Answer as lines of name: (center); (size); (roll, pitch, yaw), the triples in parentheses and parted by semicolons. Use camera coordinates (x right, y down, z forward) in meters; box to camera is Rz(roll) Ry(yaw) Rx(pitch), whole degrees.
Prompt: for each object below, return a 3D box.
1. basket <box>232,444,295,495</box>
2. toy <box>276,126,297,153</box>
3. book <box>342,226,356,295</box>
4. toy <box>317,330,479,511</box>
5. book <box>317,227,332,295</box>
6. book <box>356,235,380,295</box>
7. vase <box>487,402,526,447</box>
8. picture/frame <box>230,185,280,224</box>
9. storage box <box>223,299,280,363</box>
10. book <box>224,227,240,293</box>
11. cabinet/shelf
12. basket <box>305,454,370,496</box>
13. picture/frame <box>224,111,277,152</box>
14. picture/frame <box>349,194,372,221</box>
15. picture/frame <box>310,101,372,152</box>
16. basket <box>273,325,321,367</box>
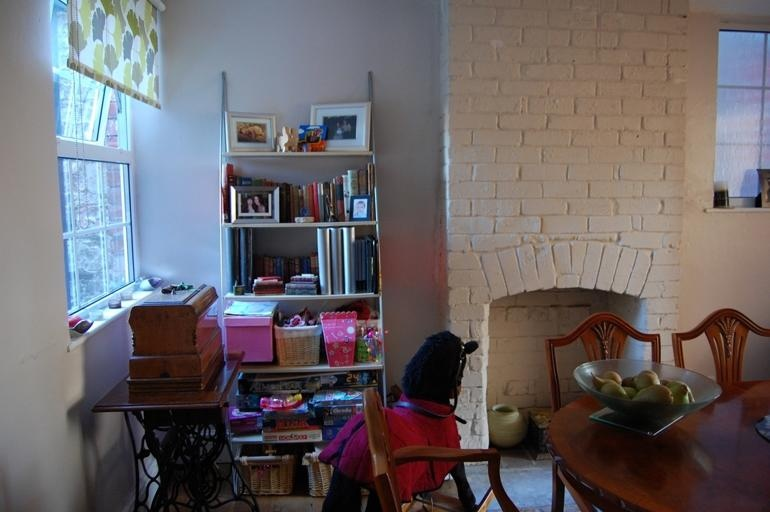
basket: (-0.758, 1.417, 3.752); (0.279, 0.204, 0.349); (1, 2, -2)
toy: (-0.642, -0.759, 3.816); (0.141, 0.169, 0.109); (-2, 2, -9)
book: (-0.237, 0.032, 3.798); (0.085, 0.432, 0.042); (-2, 2, -6)
toy: (0.011, 0.807, 3.236); (0.965, 1.039, 0.680); (-3, 3, -35)
book: (-0.399, 0.034, 3.819); (0.081, 0.437, 0.111); (-2, 3, -11)
book: (-0.124, 0.065, 3.849); (0.104, 0.307, 0.226); (-1, 4, -5)
vase: (0.865, 1.207, 4.184); (0.279, 0.206, 0.279); (8, 11, 40)
picture/frame: (-0.844, -0.336, 3.765); (0.400, 0.284, 0.217); (0, -3, -5)
storage box: (-0.877, 0.463, 3.867); (0.317, 0.398, 0.567); (-1, 1, -4)
book: (-1.044, 0.028, 3.874); (0.067, 0.436, 0.228); (-3, 3, -27)
cabinet/shelf: (-0.517, 0.165, 4.083); (1.048, 2.412, 0.514); (-4, -16, 7)
basket: (-0.335, 1.401, 3.865); (0.406, 0.347, 0.403); (-1, 0, -12)
picture/frame: (-0.893, -0.817, 3.824); (0.282, 0.230, 0.020); (-1, 3, -9)
picture/frame: (-0.161, -0.314, 3.803); (0.172, 0.204, 0.074); (-1, -7, 2)
picture/frame: (-0.298, -0.859, 3.873); (0.349, 0.286, 0.028); (1, -5, 6)
basket: (-0.565, 0.591, 3.767); (0.300, 0.222, 0.243); (0, 1, -4)
